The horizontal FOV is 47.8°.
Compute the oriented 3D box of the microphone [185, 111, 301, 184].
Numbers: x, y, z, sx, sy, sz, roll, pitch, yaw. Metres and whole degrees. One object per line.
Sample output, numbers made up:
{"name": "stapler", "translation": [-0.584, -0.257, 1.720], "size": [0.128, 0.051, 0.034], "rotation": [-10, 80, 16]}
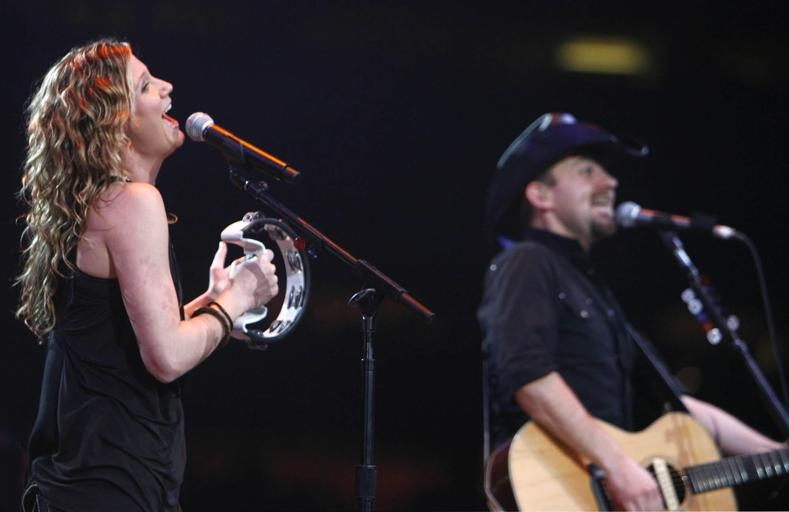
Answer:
{"name": "microphone", "translation": [-0.724, -0.505, 4.062], "size": [0.511, 0.138, 0.135], "rotation": [31, -45, 4]}
